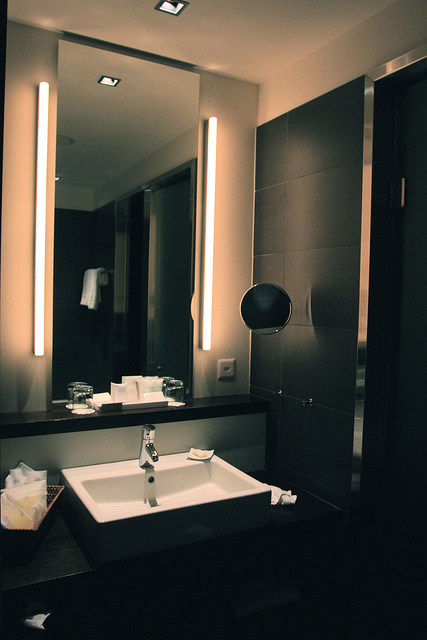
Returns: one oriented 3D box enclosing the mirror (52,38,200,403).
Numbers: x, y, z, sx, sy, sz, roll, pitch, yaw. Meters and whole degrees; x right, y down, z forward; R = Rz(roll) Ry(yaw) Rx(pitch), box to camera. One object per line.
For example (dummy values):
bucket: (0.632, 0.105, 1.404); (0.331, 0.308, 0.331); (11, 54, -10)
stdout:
mirror: (-0.363, -0.333, 1.974); (0.537, 1.286, 0.039); (-4, 9, -40)

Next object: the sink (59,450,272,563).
sink: (-0.191, 0.520, 1.786); (0.585, 0.192, 0.579); (3, 4, -32)

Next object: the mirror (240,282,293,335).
mirror: (0.207, -0.046, 2.039); (0.219, 0.194, 0.052); (1, 3, 36)

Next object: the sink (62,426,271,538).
sink: (-0.167, 0.502, 1.747); (0.626, 0.289, 0.517); (-3, 4, -27)

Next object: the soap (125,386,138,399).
soap: (-0.311, 0.273, 1.968); (0.055, 0.046, 0.009); (-4, 4, -43)
